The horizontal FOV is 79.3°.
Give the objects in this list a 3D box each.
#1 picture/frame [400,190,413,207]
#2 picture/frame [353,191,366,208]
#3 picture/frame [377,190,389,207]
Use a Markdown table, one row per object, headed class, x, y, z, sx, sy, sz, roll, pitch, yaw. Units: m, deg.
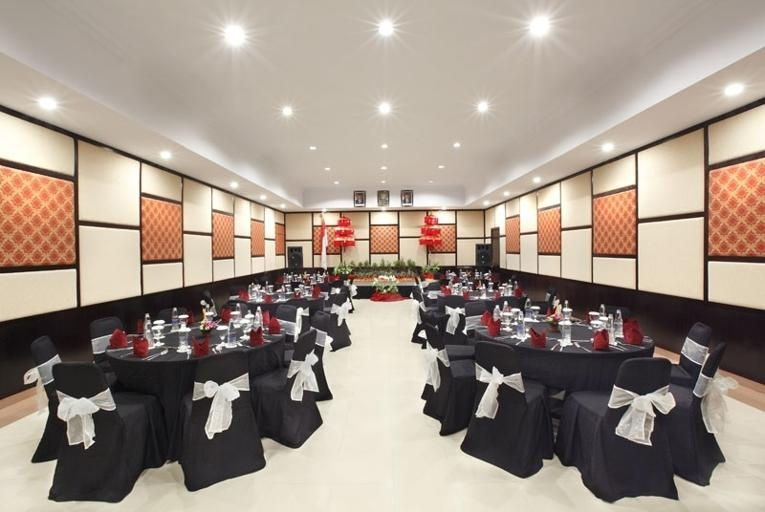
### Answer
| class | x | y | z | sx | sy | sz | roll | pitch | yaw |
| --- | --- | --- | --- | --- | --- | --- | --- | --- | --- |
| picture/frame | 0.815 | -1.896 | 15.015 | 0.477 | 0.640 | 0.044 | 0 | 1 | -4 |
| picture/frame | -0.735 | -1.861 | 15.027 | 0.420 | 0.499 | 0.110 | 0 | -3 | -5 |
| picture/frame | 0.028 | -1.892 | 15.022 | 0.441 | 0.638 | 0.064 | 1 | 1 | -5 |
